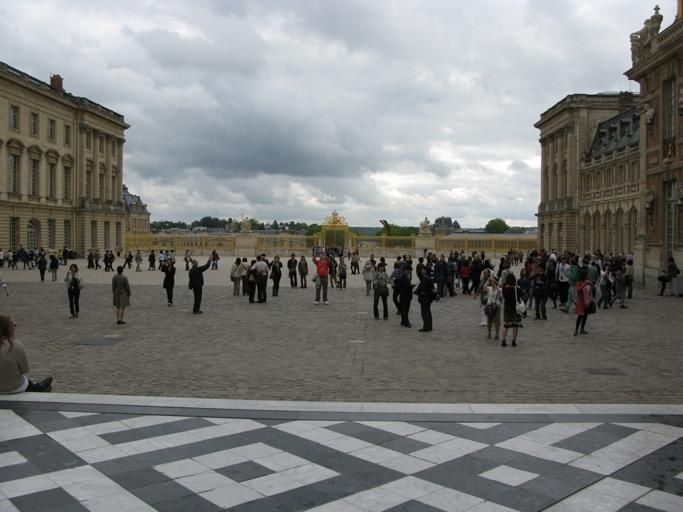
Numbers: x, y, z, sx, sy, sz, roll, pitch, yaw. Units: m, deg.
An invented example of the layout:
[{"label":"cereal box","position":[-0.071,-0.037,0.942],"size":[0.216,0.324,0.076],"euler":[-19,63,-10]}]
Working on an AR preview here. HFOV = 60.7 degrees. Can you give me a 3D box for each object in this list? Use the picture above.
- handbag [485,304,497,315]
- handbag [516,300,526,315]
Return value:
[{"label":"handbag","position":[3.980,1.375,15.454],"size":[0.259,0.255,0.255],"euler":[8,3,-34]},{"label":"handbag","position":[4.547,1.275,14.644],"size":[0.411,0.383,0.186],"euler":[-4,2,-37]}]
